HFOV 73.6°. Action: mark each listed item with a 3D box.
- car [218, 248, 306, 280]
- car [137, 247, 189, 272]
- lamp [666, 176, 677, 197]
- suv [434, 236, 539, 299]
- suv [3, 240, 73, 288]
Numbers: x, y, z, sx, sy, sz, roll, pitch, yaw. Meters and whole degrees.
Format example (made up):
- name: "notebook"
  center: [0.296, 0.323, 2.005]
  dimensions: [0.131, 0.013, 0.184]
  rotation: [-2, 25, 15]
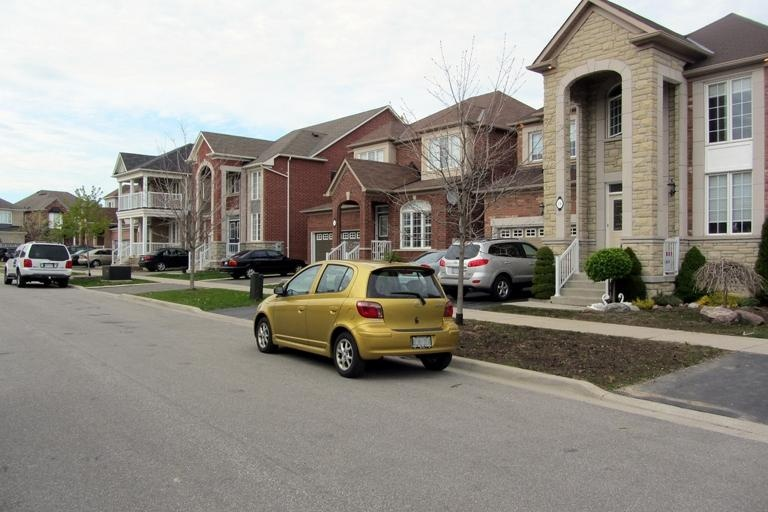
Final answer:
- name: "car"
  center: [-7.620, 0.462, 31.762]
  dimensions: [4.721, 1.428, 2.115]
  rotation: [-3, 2, -30]
- name: "car"
  center: [-16.659, 0.208, 39.772]
  dimensions: [4.273, 1.367, 1.907]
  rotation: [-3, 2, -39]
- name: "lamp"
  center: [9.742, -2.344, 17.357]
  dimensions: [0.238, 0.727, 0.578]
  rotation: [0, 0, 35]
- name: "suv"
  center: [3.911, 0.435, 19.050]
  dimensions: [3.810, 1.417, 1.936]
  rotation: [-5, 4, -38]
- name: "suv"
  center: [-19.122, 0.482, 28.215]
  dimensions: [2.586, 1.989, 4.970]
  rotation: [1, 2, -40]
